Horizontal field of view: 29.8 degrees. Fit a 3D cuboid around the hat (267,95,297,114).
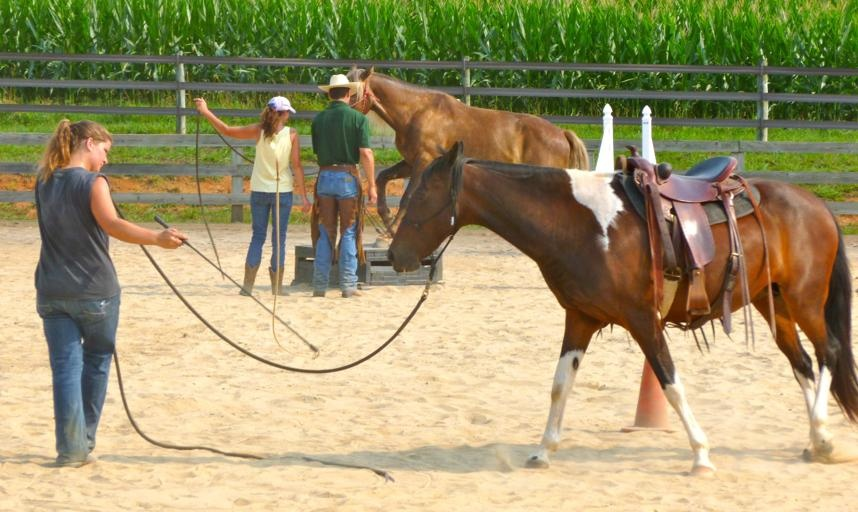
[{"bbox_3d":[-2.408,-2.533,27.063,0.544,0.273,0.381,-6,14,-33],"label":"hat"}]
